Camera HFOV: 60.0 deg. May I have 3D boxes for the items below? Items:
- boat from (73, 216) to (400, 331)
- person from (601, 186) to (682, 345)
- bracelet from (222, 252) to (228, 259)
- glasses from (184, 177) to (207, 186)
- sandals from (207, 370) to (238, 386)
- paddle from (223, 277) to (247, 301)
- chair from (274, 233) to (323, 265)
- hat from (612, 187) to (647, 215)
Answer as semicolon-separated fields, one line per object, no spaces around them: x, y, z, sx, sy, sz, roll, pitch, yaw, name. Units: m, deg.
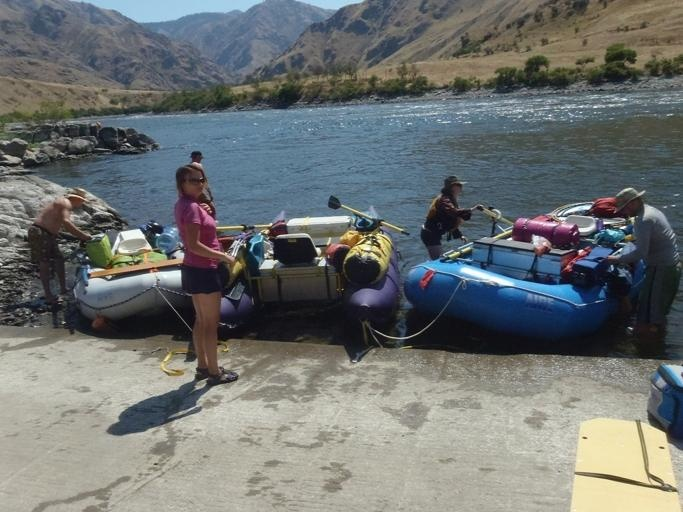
-1.612;0.267;9.243;4.929;0.557;2.127;-1;16;-3;boat
4.292;0.103;8.338;0.876;2.217;0.817;-3;24;22;person
-1.262;-0.007;6.426;0.060;0.047;0.109;-10;15;-10;bracelet
-1.598;-0.811;6.386;0.156;0.069;0.049;-12;19;-25;glasses
-1.381;1.422;6.886;0.406;0.101;0.145;-4;10;-17;sandals
-1.600;0.497;8.770;0.229;0.053;0.569;13;21;5;paddle
-0.750;-0.092;9.453;0.919;0.464;0.579;4;32;3;chair
4.049;-0.773;8.345;0.304;0.418;0.869;-1;15;24;hat
